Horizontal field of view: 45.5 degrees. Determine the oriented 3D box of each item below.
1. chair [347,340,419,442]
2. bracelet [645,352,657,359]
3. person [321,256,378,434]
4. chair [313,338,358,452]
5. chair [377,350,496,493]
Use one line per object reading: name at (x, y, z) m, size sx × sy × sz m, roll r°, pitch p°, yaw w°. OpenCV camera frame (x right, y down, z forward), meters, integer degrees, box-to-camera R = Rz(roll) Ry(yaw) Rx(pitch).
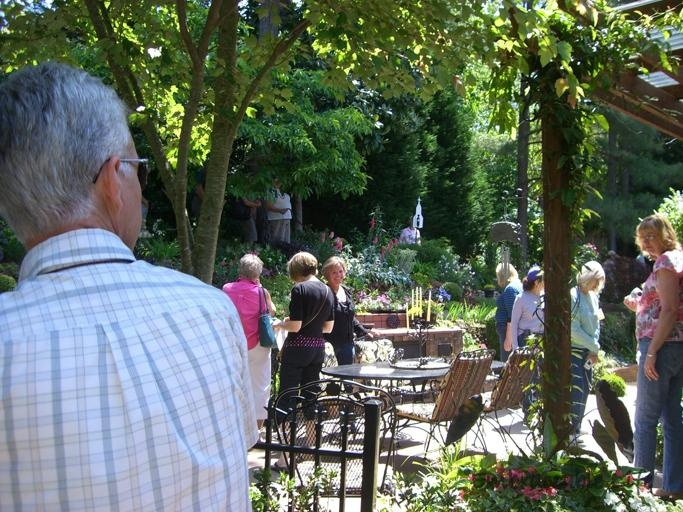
chair at (0.490, 1.337, 8.804) m, size 0.782 × 1.084 × 0.744 m, roll -1°, pitch -3°, yaw 36°
bracelet at (2.135, 0.678, 5.574) m, size 0.038 × 0.029 × 0.054 m, roll -1°, pitch -13°, yaw 1°
person at (0.044, 0.819, 8.025) m, size 0.543 × 1.629 × 0.456 m, roll -3°, pitch 20°, yaw -6°
chair at (-0.060, 1.014, 6.544) m, size 0.452 × 0.702 × 0.555 m, roll -1°, pitch -12°, yaw 16°
chair at (0.861, 1.328, 7.028) m, size 0.749 × 1.240 × 0.686 m, roll 4°, pitch 1°, yaw 38°
